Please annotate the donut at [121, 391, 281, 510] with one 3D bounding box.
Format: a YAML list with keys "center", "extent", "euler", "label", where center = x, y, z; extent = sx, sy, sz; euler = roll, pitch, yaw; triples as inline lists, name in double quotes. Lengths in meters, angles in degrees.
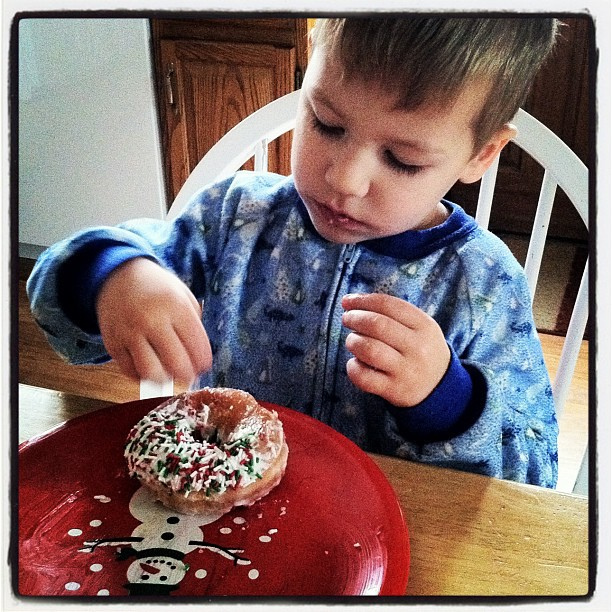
- center: [-0.090, 0.128, 0.564]
  extent: [0.131, 0.050, 0.135]
  euler: [17, 33, 10]
  label: "donut"

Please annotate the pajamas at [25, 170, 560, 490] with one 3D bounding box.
- center: [-0.037, 0.028, 0.738]
  extent: [0.420, 0.449, 0.475]
  euler: [-8, 19, -23]
  label: "pajamas"
